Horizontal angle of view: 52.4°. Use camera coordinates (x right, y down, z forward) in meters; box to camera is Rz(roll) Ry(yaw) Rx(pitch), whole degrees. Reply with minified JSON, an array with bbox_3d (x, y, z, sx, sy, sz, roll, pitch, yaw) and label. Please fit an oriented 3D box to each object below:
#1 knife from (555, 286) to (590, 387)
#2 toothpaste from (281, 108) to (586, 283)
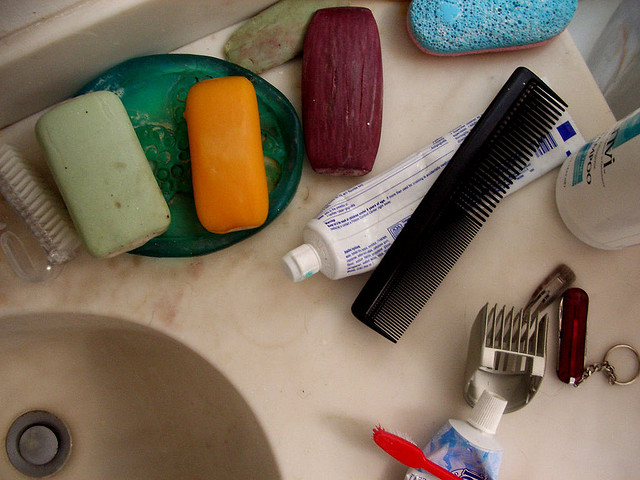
[{"bbox_3d":[0.326,0.121,0.837,0.030,0.031,0.121,6,88,6],"label":"knife"},{"bbox_3d":[0.136,-0.066,0.846,0.420,0.132,0.112,-23,62,-15],"label":"toothpaste"}]
